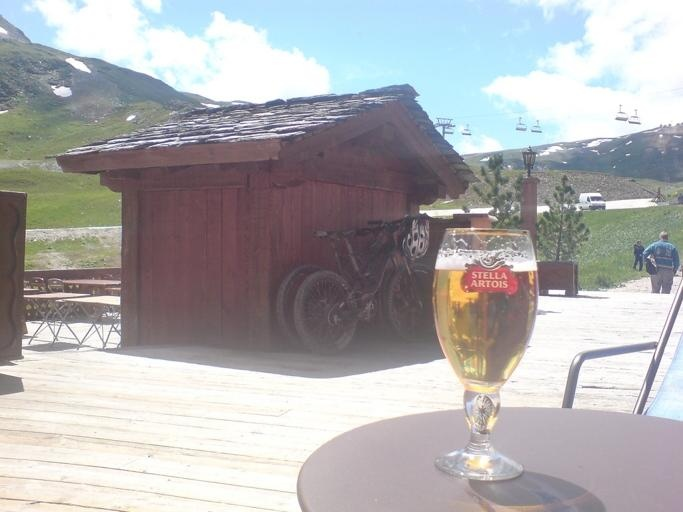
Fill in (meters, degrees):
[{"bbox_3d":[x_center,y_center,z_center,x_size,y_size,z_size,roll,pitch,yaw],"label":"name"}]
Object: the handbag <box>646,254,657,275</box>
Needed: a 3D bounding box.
[{"bbox_3d":[7.167,0.227,15.018,0.136,0.387,0.283,-1,11,0],"label":"handbag"}]
